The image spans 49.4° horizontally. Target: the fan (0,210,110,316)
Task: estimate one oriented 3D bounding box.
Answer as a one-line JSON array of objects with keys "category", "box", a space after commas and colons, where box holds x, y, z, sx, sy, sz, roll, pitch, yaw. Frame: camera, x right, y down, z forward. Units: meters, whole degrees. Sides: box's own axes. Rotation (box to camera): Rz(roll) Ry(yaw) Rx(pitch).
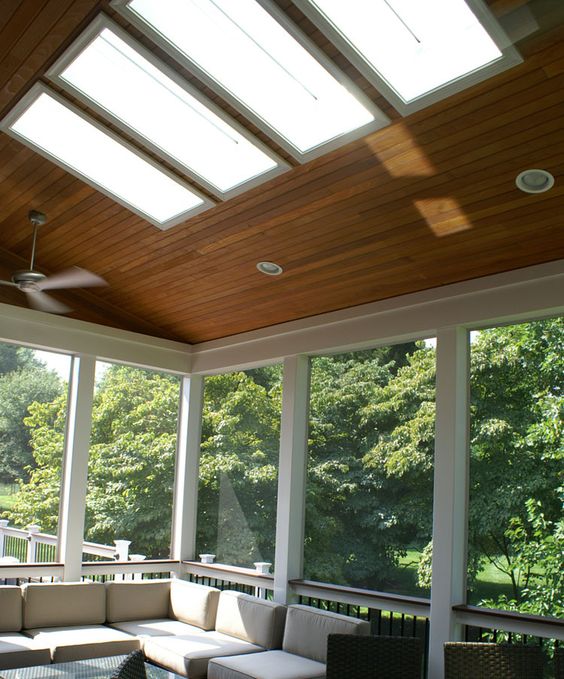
[{"category": "fan", "box": [-1.894, -0.672, 5.043, 0.602, 0.489, 0.575, -35, -40, 21]}]
